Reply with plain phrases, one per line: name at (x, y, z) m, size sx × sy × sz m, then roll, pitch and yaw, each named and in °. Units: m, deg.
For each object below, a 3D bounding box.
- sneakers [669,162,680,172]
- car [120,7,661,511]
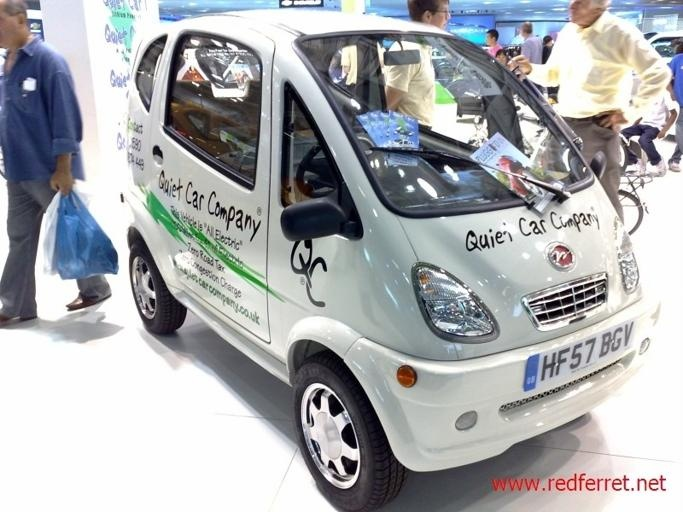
sneakers at (4.919, -1.306, 7.396) m, size 0.109 × 0.110 × 0.263 m, roll -5°, pitch 13°, yaw 1°
car at (0.116, -0.191, 2.755) m, size 1.801 × 1.802 × 2.584 m, roll -16°, pitch 31°, yaw -34°
